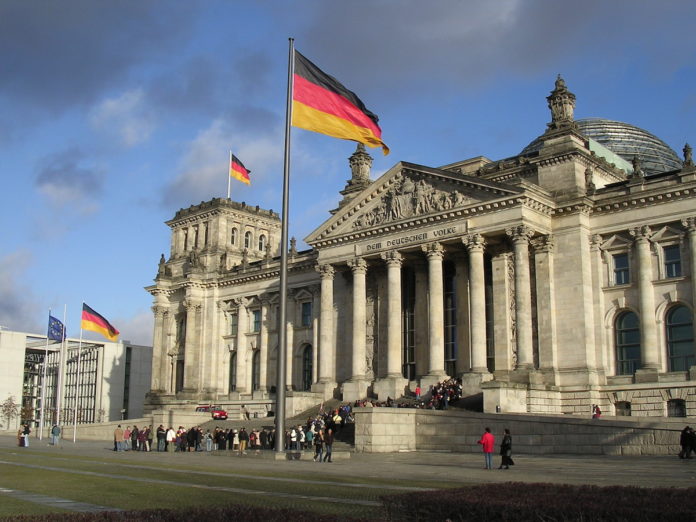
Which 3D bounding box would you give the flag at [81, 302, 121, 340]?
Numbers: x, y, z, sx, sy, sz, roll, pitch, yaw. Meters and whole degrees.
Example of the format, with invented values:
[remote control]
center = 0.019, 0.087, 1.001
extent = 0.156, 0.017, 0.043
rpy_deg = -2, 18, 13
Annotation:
[flag]
center = -21.747, 5.158, 77.717
extent = 2.714, 2.997, 2.872
rpy_deg = 4, -17, -24
